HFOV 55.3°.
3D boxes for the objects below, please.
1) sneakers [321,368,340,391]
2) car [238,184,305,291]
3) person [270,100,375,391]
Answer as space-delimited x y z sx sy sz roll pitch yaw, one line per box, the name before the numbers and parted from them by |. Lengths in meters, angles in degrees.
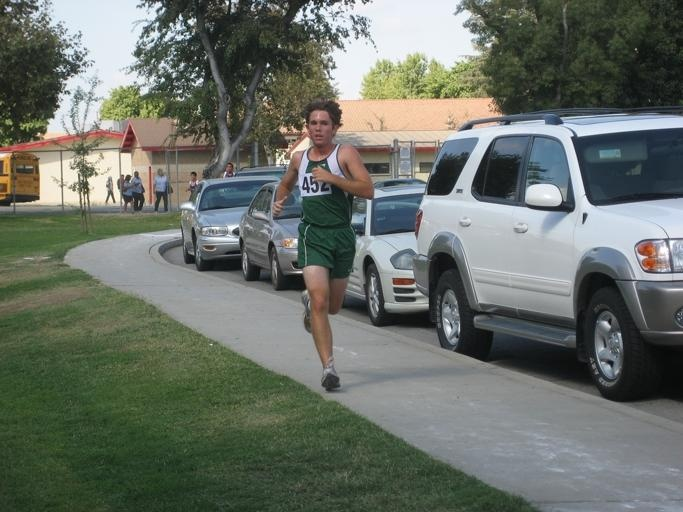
sneakers | -0.086 1.064 5.668 0.107 0.121 0.255 -4 -28 -9
car | -1.397 -0.501 13.956 1.309 1.420 2.680 0 2 -18
person | -0.139 -0.085 5.661 0.938 2.539 0.520 3 6 41
